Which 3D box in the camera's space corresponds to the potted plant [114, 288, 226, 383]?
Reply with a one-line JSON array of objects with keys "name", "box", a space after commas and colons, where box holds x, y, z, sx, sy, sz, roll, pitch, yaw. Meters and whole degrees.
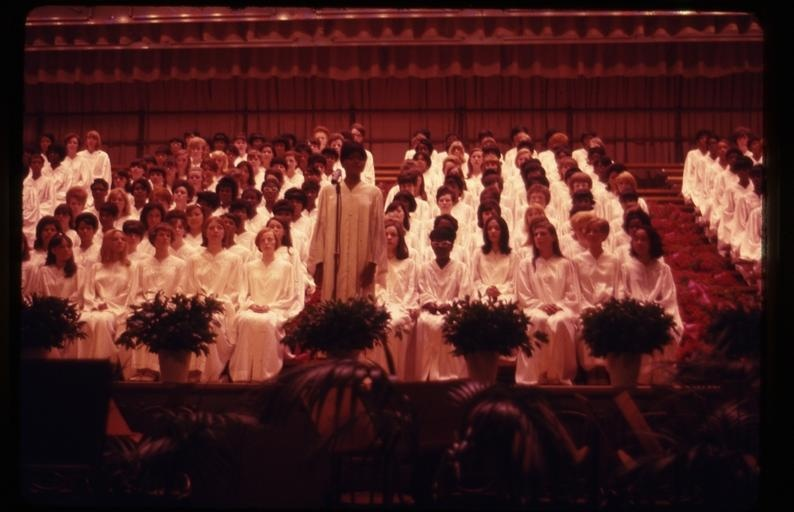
[{"name": "potted plant", "box": [-2.291, 0.761, 7.906, 0.875, 0.870, 1.008, -10, -22, 15]}]

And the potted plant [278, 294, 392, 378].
[{"name": "potted plant", "box": [-0.502, 0.631, 7.749, 0.881, 0.509, 0.882, -9, 0, -18]}]

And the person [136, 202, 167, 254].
[{"name": "person", "box": [-2.773, -0.280, 9.254, 0.353, 0.733, 0.335, 8, -39, -20]}]

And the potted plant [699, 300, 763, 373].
[{"name": "potted plant", "box": [2.978, 0.723, 7.151, 0.457, 0.542, 0.539, -3, -5, 26]}]

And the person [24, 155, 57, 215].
[{"name": "person", "box": [-4.467, -0.800, 9.912, 0.389, 0.866, 0.294, 1, -17, -28]}]

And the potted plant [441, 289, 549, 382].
[{"name": "potted plant", "box": [1.006, 0.759, 7.820, 0.836, 0.841, 0.897, -2, -7, 32]}]

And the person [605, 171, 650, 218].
[{"name": "person", "box": [2.665, -0.706, 9.375, 0.256, 0.785, 0.419, 14, -20, -32]}]

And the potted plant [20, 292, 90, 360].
[{"name": "potted plant", "box": [-3.410, 0.703, 7.910, 0.588, 0.604, 0.560, 2, -12, -10]}]

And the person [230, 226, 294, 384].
[{"name": "person", "box": [-1.447, 0.479, 8.719, 0.688, 1.684, 0.856, 0, -5, -8]}]

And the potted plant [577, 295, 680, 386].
[{"name": "potted plant", "box": [2.310, 0.873, 7.872, 0.797, 0.818, 0.822, -12, -17, 40]}]
